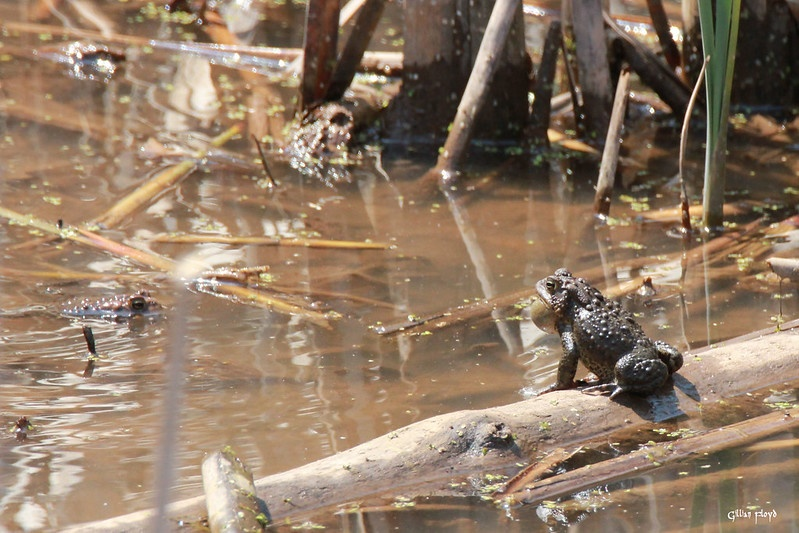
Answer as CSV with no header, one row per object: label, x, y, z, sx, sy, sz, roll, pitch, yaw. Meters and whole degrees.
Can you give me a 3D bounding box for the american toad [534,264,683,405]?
american toad,1.044,0.316,4.349,0.808,0.432,0.681,10,24,34
